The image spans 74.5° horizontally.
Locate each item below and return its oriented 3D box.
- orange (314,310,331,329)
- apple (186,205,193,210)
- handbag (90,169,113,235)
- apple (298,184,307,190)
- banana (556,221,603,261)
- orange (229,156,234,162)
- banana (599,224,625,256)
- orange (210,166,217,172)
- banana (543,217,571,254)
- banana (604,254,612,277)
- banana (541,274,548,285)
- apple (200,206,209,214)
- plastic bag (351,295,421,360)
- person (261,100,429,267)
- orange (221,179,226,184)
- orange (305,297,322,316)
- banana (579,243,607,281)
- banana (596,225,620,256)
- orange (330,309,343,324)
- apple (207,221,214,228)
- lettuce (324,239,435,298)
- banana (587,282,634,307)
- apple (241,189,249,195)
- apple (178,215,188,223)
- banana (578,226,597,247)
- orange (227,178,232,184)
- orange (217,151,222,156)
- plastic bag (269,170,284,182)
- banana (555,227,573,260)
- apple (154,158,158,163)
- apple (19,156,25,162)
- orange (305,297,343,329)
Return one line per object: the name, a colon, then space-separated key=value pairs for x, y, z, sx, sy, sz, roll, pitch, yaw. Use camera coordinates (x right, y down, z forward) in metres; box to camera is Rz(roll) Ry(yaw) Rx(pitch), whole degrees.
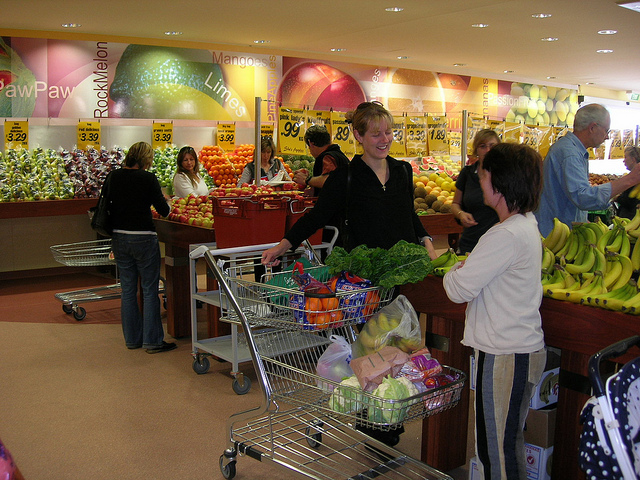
orange: x=0.011 y=0.347 z=1.815 sx=0.069 sy=0.090 sz=0.072 roll=11 pitch=-16 yaw=-18
apple: x=-1.386 y=-0.346 z=4.534 sx=0.041 sy=0.054 sz=0.044 roll=6 pitch=1 yaw=-2
handbag: x=-2.171 y=-0.366 z=4.238 sx=0.240 sy=0.623 sz=0.201 roll=-3 pitch=9 yaw=-20
apple: x=-0.182 y=-0.564 z=4.508 sx=0.078 sy=0.081 sz=0.080 roll=3 pitch=-3 yaw=-20
banana: x=1.292 y=0.009 z=2.109 sx=0.104 sy=0.168 sz=0.056 roll=30 pitch=53 yaw=13
orange: x=-1.520 y=-1.413 z=7.376 sx=0.069 sy=0.090 sz=0.073 roll=-4 pitch=12 yaw=-3
banana: x=1.396 y=0.005 z=2.025 sx=0.047 sy=0.094 sz=0.144 roll=16 pitch=52 yaw=35
orange: x=-1.777 y=-1.200 z=7.128 sx=0.075 sy=0.083 sz=0.036 roll=0 pitch=-6 yaw=30
banana: x=1.259 y=-0.021 z=2.307 sx=0.113 sy=0.197 sz=0.110 roll=24 pitch=5 yaw=24
banana: x=1.307 y=0.119 z=1.926 sx=0.019 sy=0.095 sz=0.030 roll=25 pitch=-26 yaw=-36
banana: x=1.056 y=0.186 z=1.994 sx=0.017 sy=0.058 sz=0.037 roll=8 pitch=-35 yaw=46
apple: x=-1.202 y=-0.319 z=4.425 sx=0.076 sy=0.077 sz=0.086 roll=-37 pitch=26 yaw=-31
plastic bag: x=0.314 y=0.414 z=2.021 sx=0.210 sy=0.382 sz=0.158 roll=21 pitch=5 yaw=-6
person: x=0.217 y=-0.371 z=2.527 sx=0.745 sy=0.864 sz=0.353 roll=0 pitch=9 yaw=-4
orange: x=-1.587 y=-0.969 z=7.045 sx=0.065 sy=0.084 sz=0.068 roll=10 pitch=-20 yaw=27
orange: x=-0.026 y=0.278 z=1.784 sx=0.063 sy=0.084 sz=0.066 roll=0 pitch=6 yaw=0
banana: x=1.249 y=0.102 z=1.952 sx=0.043 sy=0.148 sz=0.113 roll=3 pitch=-13 yaw=-12
banana: x=1.382 y=0.008 z=2.035 sx=0.052 sy=0.153 sz=0.031 roll=40 pitch=-29 yaw=-8
orange: x=0.068 y=0.326 z=1.836 sx=0.053 sy=0.070 sz=0.057 roll=2 pitch=15 yaw=-1
apple: x=-1.038 y=-0.150 z=4.040 sx=0.056 sy=0.074 sz=0.059 roll=2 pitch=7 yaw=-1
lettuce: x=0.266 y=0.135 z=2.061 sx=0.444 sy=0.268 sz=0.552 roll=-3 pitch=14 yaw=-13
banana: x=1.198 y=0.228 z=1.745 sx=0.157 sy=0.064 sz=0.033 roll=-22 pitch=-5 yaw=-34
apple: x=-0.664 y=-0.428 z=3.814 sx=0.058 sy=0.046 sz=0.075 roll=-14 pitch=21 yaw=-16
apple: x=-1.398 y=-0.213 z=4.331 sx=0.069 sy=0.050 sz=0.075 roll=-4 pitch=3 yaw=-40
banana: x=1.307 y=-0.018 z=2.075 sx=0.027 sy=0.089 sz=0.074 roll=-25 pitch=-12 yaw=-1
orange: x=-1.489 y=-0.984 z=7.023 sx=0.053 sy=0.069 sz=0.055 roll=4 pitch=7 yaw=20
orange: x=-1.725 y=-1.503 z=7.346 sx=0.065 sy=0.084 sz=0.068 roll=3 pitch=-1 yaw=4
plastic bag: x=-0.430 y=-0.648 z=4.365 sx=0.131 sy=0.092 sz=0.254 roll=-1 pitch=10 yaw=-6
banana: x=1.258 y=0.021 z=2.188 sx=0.027 sy=0.158 sz=0.050 roll=36 pitch=-23 yaw=-34
apple: x=-2.747 y=-1.345 z=7.149 sx=0.064 sy=0.126 sz=0.065 roll=4 pitch=-5 yaw=-28
apple: x=-4.613 y=-1.260 z=6.596 sx=0.065 sy=0.087 sz=0.023 roll=-8 pitch=12 yaw=-40
orange: x=0.019 y=0.309 z=1.801 sx=0.160 sy=0.139 sz=0.070 roll=0 pitch=9 yaw=-3
